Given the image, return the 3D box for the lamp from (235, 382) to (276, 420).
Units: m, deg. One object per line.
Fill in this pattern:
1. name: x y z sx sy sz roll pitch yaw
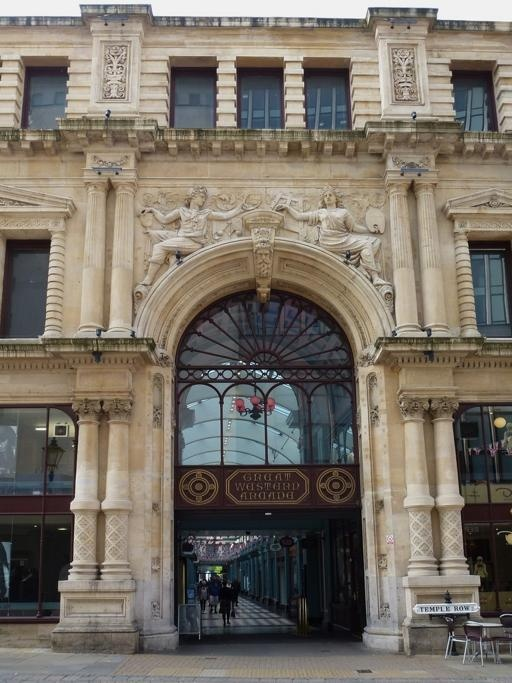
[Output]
1. lamp: -0.090 1.926 24.601 0.973 0.895 0.801 2 -2 -17

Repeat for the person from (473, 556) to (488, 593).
1. person: 6.037 6.248 22.206 0.375 0.917 0.106 5 -21 -19
